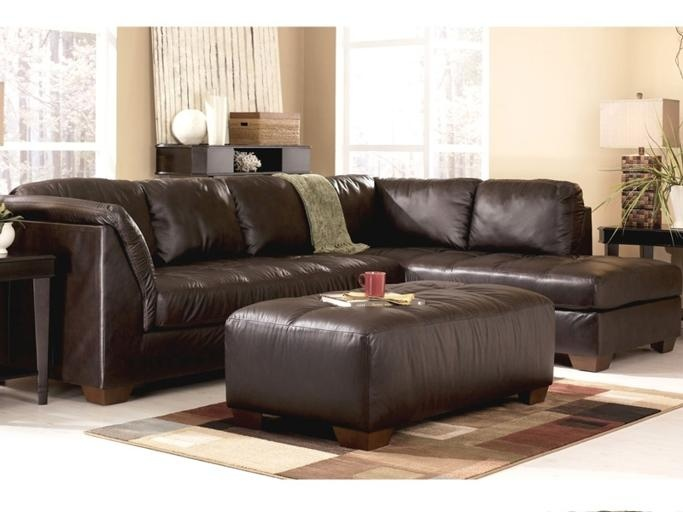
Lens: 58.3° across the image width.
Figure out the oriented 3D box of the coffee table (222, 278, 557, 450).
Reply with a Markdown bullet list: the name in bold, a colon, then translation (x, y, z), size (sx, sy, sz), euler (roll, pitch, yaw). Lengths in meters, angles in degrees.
- **coffee table**: translation (0.078, 0.333, 2.853), size (0.883, 0.405, 1.241), euler (1, 3, 43)
